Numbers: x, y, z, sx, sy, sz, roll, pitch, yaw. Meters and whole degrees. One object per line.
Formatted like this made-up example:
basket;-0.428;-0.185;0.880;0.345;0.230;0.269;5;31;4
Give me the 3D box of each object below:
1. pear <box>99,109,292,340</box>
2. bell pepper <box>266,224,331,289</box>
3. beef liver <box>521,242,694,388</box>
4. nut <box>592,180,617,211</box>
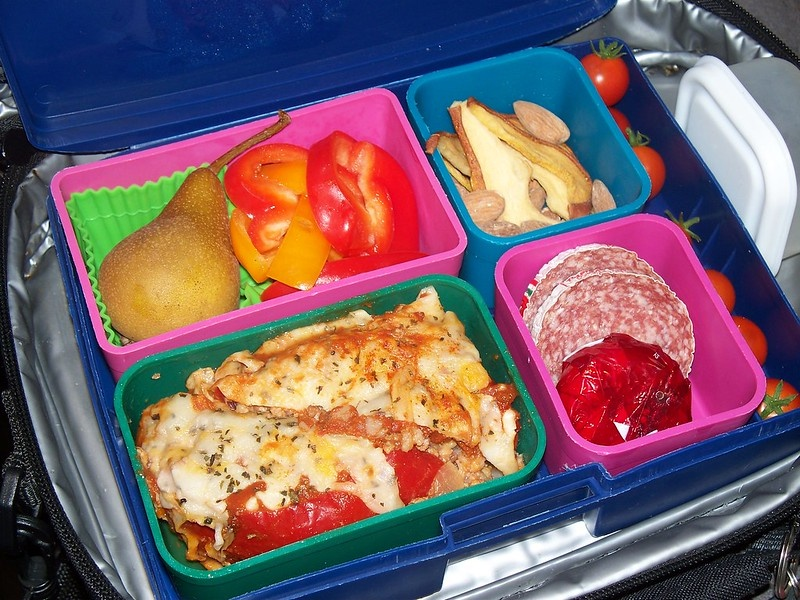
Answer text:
pear;-0.465;-0.115;1.634;0.286;0.372;0.266;-29;48;-26
bell pepper;-0.221;-0.099;1.728;0.113;0.190;0.060;20;-12;-6
beef liver;0.467;0.004;1.799;0.298;0.357;0.078;-18;-1;-9
nut;0.506;-0.249;1.916;0.050;0.085;0.021;-4;-4;-1
